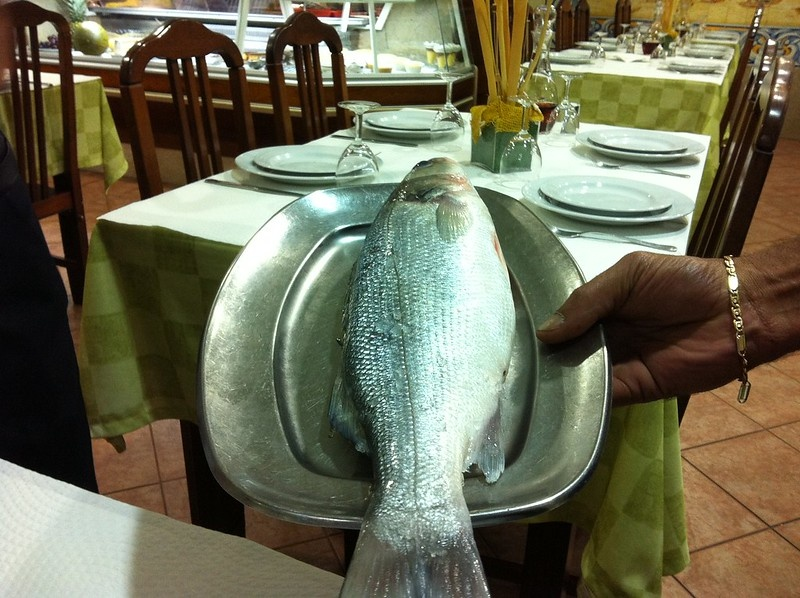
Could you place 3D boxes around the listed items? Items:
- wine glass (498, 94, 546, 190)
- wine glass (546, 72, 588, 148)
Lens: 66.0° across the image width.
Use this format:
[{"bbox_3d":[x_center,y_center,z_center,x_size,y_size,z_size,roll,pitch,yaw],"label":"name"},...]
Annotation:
[{"bbox_3d":[0.272,-0.353,1.351,0.078,0.149,0.085,1,30,-1],"label":"wine glass"},{"bbox_3d":[0.494,-0.548,1.828,0.100,0.241,0.096,-1,-1,-38],"label":"wine glass"}]
